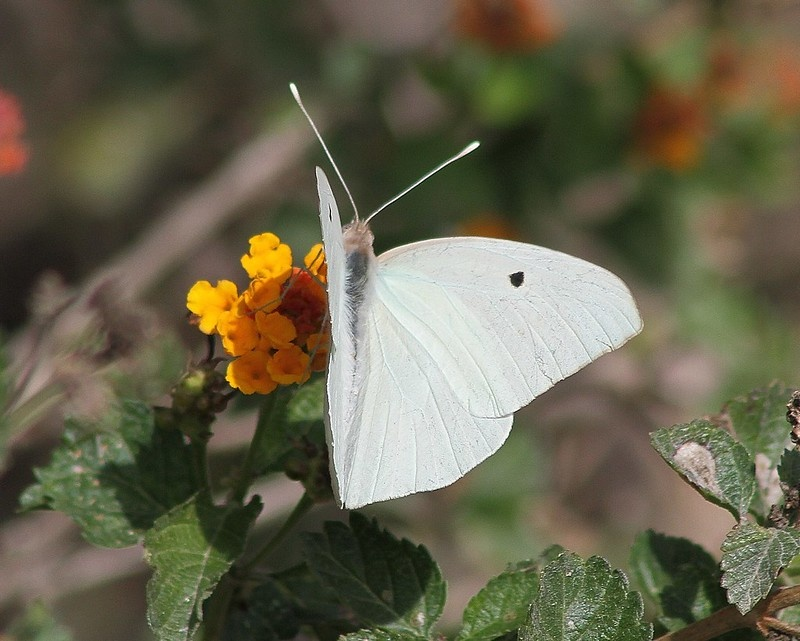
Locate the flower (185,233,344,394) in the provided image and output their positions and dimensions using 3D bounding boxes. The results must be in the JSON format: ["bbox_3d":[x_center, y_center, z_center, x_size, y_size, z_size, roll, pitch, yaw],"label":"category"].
[{"bbox_3d":[-0.417,-0.022,3.724,0.429,0.488,0.154,-11,-13,-3],"label":"flower"}]
